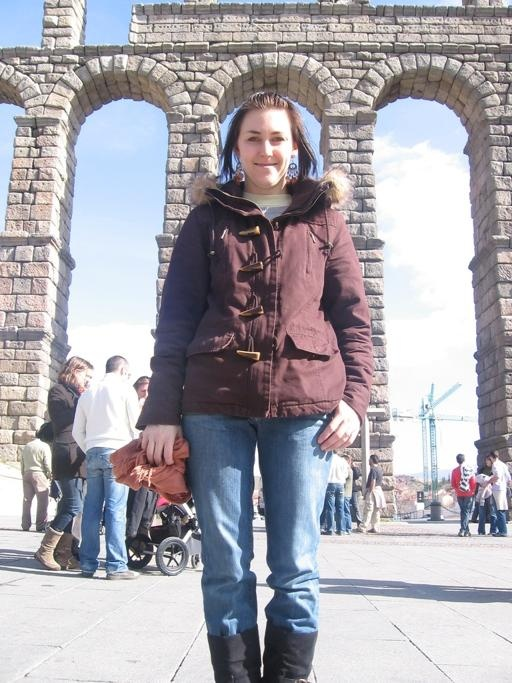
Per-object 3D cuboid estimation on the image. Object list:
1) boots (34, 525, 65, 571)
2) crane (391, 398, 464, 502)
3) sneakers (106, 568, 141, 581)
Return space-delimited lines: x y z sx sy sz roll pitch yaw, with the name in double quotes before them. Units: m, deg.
"boots" -1.644 1.681 5.640 0.275 0.281 0.147 17 -4 35
"crane" 18.173 9.598 70.492 6.396 8.652 6.601 -16 11 -35
"sneakers" -0.938 1.655 4.941 0.229 0.088 0.081 2 -4 -22
